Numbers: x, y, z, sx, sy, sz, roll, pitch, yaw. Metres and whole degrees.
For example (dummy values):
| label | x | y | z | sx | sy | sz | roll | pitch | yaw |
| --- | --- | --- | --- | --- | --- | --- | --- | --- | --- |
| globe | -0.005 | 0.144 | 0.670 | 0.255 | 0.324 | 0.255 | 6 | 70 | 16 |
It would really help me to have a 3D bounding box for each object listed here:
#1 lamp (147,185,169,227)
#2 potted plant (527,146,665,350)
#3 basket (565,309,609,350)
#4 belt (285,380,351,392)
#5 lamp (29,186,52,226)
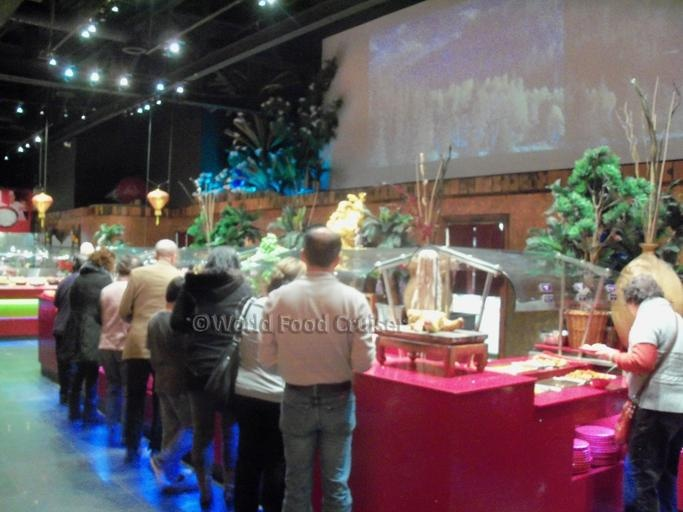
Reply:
| label | x | y | z | sx | sy | sz | roll | pitch | yaw |
| --- | --- | --- | --- | --- | --- | --- | --- | --- | --- |
| lamp | -3.196 | -0.859 | 11.014 | 0.476 | 0.691 | 0.480 | 2 | -10 | -28 |
| potted plant | 2.270 | -0.152 | 5.667 | 1.264 | 1.786 | 1.316 | 9 | 7 | 25 |
| basket | 1.926 | 0.545 | 4.986 | 0.303 | 0.252 | 0.317 | 2 | 0 | 3 |
| belt | -0.129 | 0.721 | 3.538 | 0.364 | 0.057 | 0.083 | 0 | 0 | -5 |
| lamp | -5.941 | -0.930 | 12.544 | 0.374 | 0.805 | 0.384 | 2 | 1 | 15 |
